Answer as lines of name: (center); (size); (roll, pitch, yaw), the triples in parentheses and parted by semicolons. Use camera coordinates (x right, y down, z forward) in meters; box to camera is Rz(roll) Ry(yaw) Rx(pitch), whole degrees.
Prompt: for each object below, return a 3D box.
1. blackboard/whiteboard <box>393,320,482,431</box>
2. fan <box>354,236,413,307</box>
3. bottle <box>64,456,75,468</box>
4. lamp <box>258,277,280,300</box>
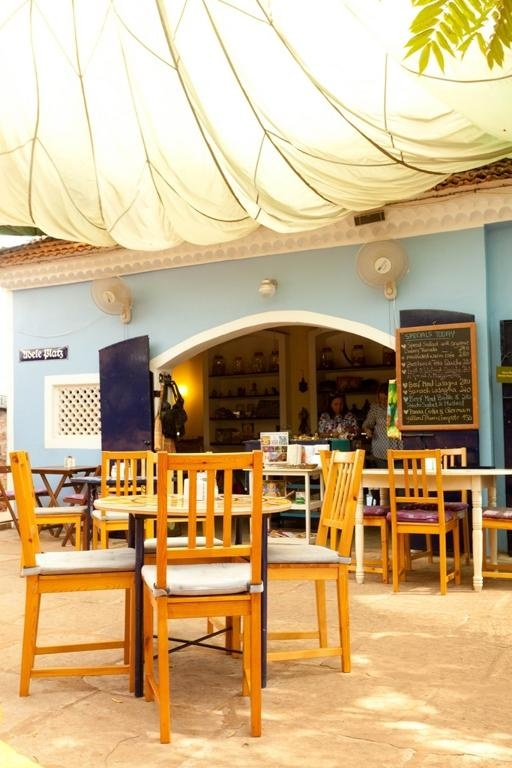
blackboard/whiteboard: (1.860, -0.088, 6.377); (1.033, 1.514, 0.096); (-1, -2, 30)
fan: (1.374, -1.201, 6.743); (0.521, 0.664, 0.088); (-27, 8, 13)
bottle: (-2.300, 0.941, 7.742); (0.146, 0.166, 0.148); (-1, 0, 1)
lamp: (0.135, -1.107, 7.395); (0.188, 0.188, 0.216); (-2, -10, 15)
